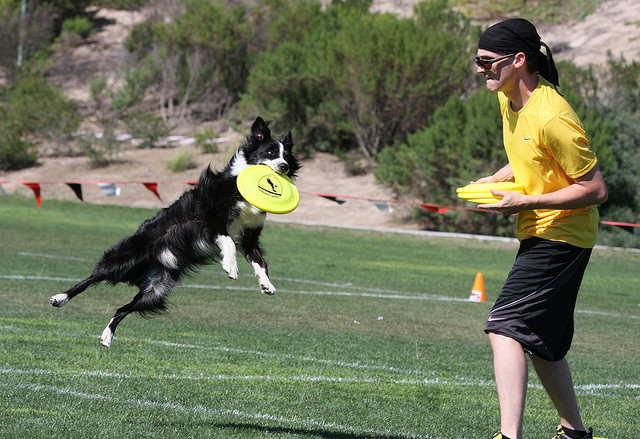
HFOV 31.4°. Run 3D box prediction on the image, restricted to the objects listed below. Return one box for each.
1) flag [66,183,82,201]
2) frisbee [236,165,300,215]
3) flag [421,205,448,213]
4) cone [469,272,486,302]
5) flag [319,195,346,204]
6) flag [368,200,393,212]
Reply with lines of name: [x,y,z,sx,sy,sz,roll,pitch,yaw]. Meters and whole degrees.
flag: [-2.761,-0.346,12.795,0.062,0.147,0.130,-19,-10,-3]
frisbee: [-0.585,-0.337,12.387,0.670,0.489,0.571,1,6,-5]
flag: [1.344,-0.119,13.325,0.049,0.099,0.507,6,8,41]
cone: [2.305,0.976,16.685,0.239,0.433,0.447,2,6,7]
flag: [0.159,-0.235,13.710,0.198,0.104,0.668,1,6,-7]
flag: [0.686,-0.163,12.882,0.048,0.096,0.291,33,4,43]
